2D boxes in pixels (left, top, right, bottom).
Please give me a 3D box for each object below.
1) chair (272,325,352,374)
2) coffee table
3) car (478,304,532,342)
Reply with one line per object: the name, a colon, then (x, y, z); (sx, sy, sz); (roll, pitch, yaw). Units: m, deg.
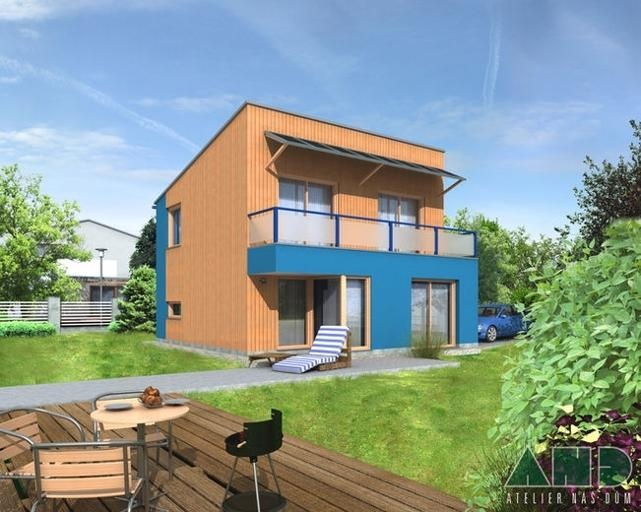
chair: (-0.150, 2.339, 13.871); (0.933, 1.027, 1.736); (-3, -4, 43)
coffee table: (-1.827, 2.056, 5.838); (0.914, 1.107, 0.926); (-1, 1, -26)
car: (7.317, 3.023, 23.580); (1.056, 1.601, 3.311); (-1, 5, 40)
